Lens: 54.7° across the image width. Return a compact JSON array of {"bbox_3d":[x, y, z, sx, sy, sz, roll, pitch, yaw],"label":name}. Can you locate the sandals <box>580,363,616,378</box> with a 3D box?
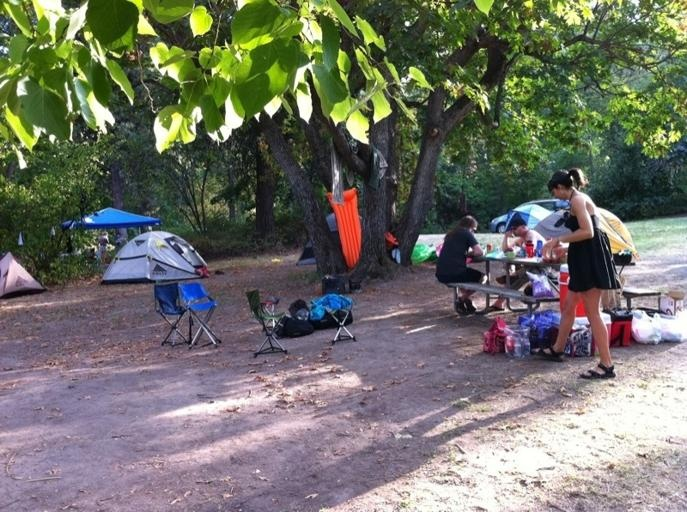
[{"bbox_3d":[2.936,1.332,7.652,0.353,0.162,0.170,3,-4,5],"label":"sandals"}]

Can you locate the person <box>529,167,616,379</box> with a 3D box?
[{"bbox_3d":[2.798,0.175,7.766,0.530,2.385,0.856,-6,8,-24],"label":"person"}]

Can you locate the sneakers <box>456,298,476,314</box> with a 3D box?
[{"bbox_3d":[2.071,0.860,11.258,0.330,0.157,0.179,10,15,35],"label":"sneakers"}]

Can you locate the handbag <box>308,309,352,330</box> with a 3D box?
[{"bbox_3d":[-0.162,1.048,10.716,0.470,0.208,0.366,1,-2,-13],"label":"handbag"}]

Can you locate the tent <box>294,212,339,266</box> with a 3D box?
[{"bbox_3d":[-0.786,-0.632,19.937,1.387,1.568,0.721,2,-10,-2],"label":"tent"}]

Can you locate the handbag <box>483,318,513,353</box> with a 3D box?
[{"bbox_3d":[2.014,1.057,8.890,0.376,0.520,0.410,-1,-1,-9],"label":"handbag"}]

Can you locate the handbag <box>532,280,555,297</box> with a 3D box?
[{"bbox_3d":[2.836,0.484,9.375,0.279,0.214,0.216,0,3,-18],"label":"handbag"}]

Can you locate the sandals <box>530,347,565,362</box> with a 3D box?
[{"bbox_3d":[2.601,1.223,8.383,0.341,0.150,0.128,11,7,40],"label":"sandals"}]

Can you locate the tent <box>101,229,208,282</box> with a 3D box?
[{"bbox_3d":[-5.394,0.037,19.167,2.782,1.501,1.146,0,8,15],"label":"tent"}]
